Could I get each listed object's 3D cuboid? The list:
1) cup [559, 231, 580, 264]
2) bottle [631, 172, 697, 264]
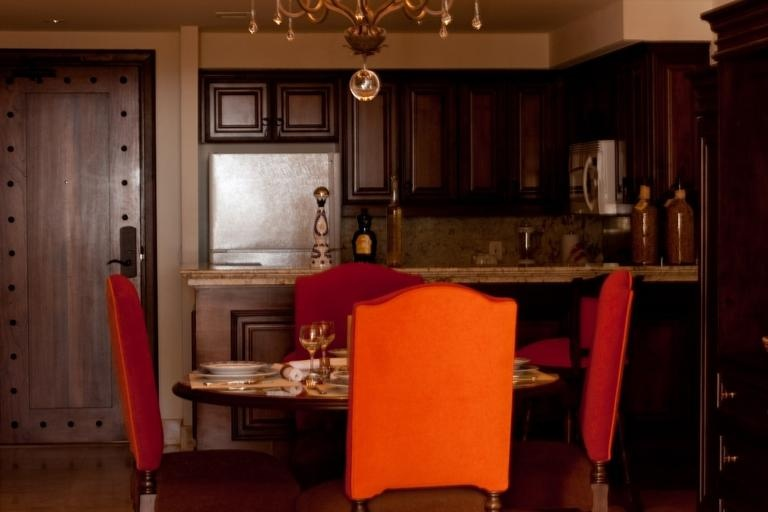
[{"bbox_3d":[1.596,-0.071,6.563,0.129,0.250,0.259,1,3,0],"label":"cup"},{"bbox_3d":[1.988,-0.231,5.473,0.439,0.583,0.310,2,3,24],"label":"bottle"}]
